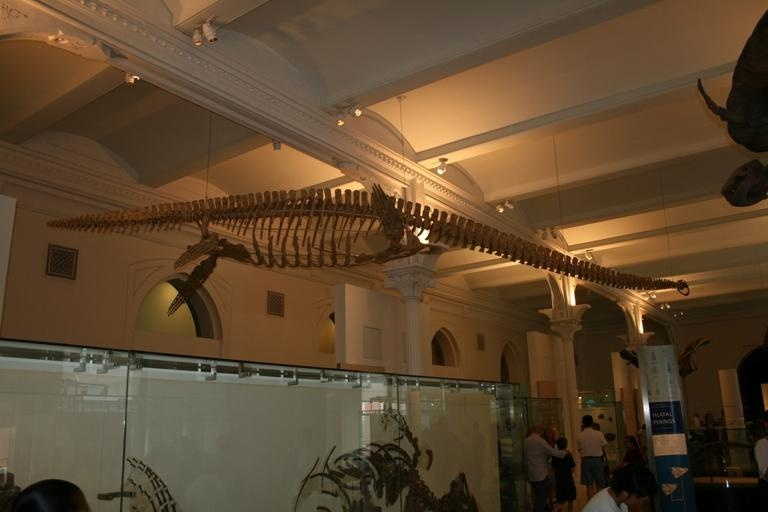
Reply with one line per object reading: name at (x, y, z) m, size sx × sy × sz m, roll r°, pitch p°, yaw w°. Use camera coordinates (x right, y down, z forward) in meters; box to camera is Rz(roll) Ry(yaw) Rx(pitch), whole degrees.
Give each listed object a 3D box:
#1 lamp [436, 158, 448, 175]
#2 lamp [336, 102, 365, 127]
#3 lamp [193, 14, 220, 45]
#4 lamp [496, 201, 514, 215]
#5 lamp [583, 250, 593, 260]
lamp at (1.108, -1.802, 11.285) m, size 0.179 × 0.338 × 0.200 m, roll 1°, pitch -31°, yaw 33°
lamp at (-0.622, -2.418, 9.579) m, size 0.426 × 0.262 × 0.115 m, roll -31°, pitch 11°, yaw 43°
lamp at (-2.438, -3.028, 7.693) m, size 0.143 × 0.248 × 0.398 m, roll -26°, pitch 32°, yaw -12°
lamp at (2.735, -1.141, 13.287) m, size 0.422 × 0.271 × 0.417 m, roll -17°, pitch 13°, yaw -41°
lamp at (5.880, -0.025, 16.523) m, size 0.203 × 0.301 × 0.090 m, roll -3°, pitch 3°, yaw 39°
